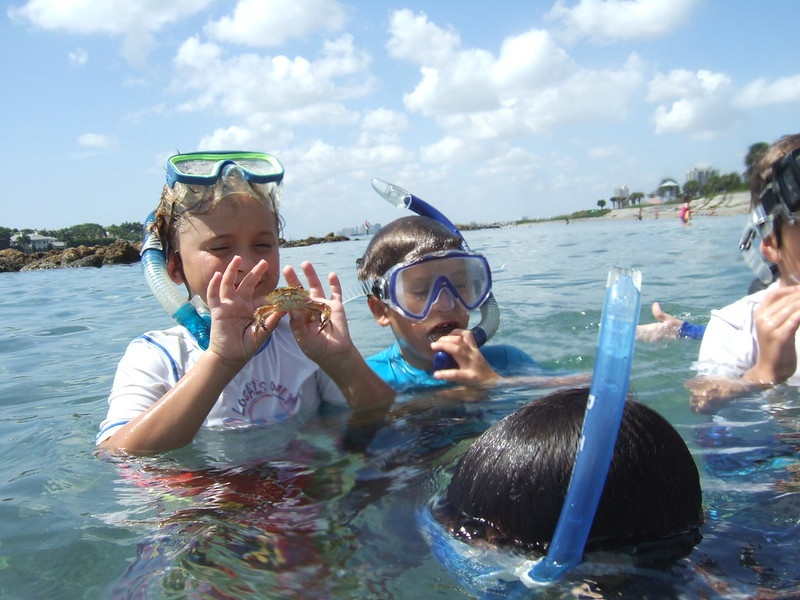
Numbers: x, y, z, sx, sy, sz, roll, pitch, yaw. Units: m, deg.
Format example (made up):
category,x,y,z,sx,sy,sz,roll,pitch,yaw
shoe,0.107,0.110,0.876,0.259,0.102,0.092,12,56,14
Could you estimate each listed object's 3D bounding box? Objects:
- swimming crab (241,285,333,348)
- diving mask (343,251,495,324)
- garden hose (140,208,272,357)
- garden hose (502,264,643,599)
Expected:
category,x,y,z,sx,sy,sz,roll,pitch,yaw
swimming crab,-0.554,0.056,2.888,0.209,0.264,0.435,1,11,38
diving mask,0.164,-0.119,3.761,0.745,0.461,0.419,0,6,-27
garden hose,-1.077,-0.039,3.250,0.761,1.071,0.637,-1,4,-37
garden hose,0.433,0.333,1.351,0.341,0.786,0.140,-6,10,7
